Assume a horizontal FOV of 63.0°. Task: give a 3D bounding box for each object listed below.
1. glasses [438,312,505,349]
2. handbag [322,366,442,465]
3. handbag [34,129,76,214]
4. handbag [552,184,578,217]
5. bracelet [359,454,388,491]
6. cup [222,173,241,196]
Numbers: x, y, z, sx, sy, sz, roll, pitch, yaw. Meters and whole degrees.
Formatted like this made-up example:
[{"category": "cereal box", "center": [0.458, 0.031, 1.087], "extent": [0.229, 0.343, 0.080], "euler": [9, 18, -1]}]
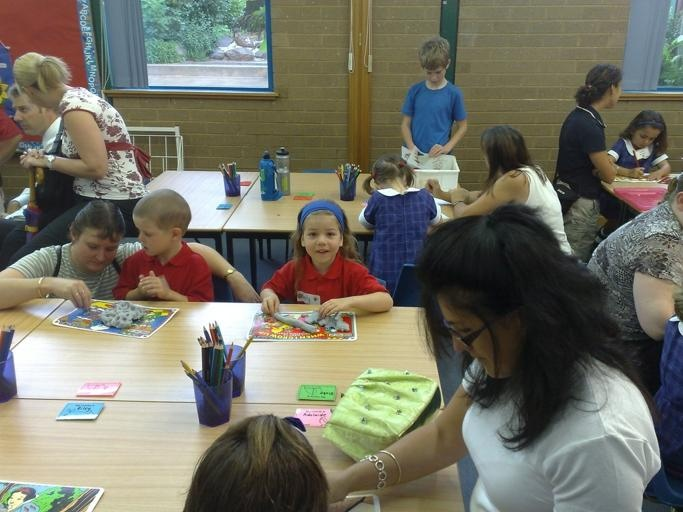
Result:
[{"category": "glasses", "center": [0.280, 0.166, 1.219], "extent": [0.078, 0.025, 0.076], "euler": [-6, 19, -5]}, {"category": "handbag", "center": [0.114, 0.449, 1.635], "extent": [0.216, 0.105, 0.278], "euler": [11, 30, 30]}, {"category": "handbag", "center": [-1.600, -0.461, 3.116], "extent": [0.284, 0.406, 0.226], "euler": [2, 2, 17]}, {"category": "handbag", "center": [1.645, -0.445, 4.183], "extent": [0.214, 0.230, 0.174], "euler": [-1, 61, 7]}, {"category": "bracelet", "center": [0.093, 0.585, 1.502], "extent": [0.077, 0.085, 0.030], "euler": [-41, 3, -24]}, {"category": "cup", "center": [-0.752, -0.493, 3.869], "extent": [0.126, 0.145, 0.136], "euler": [0, 18, 0]}]
